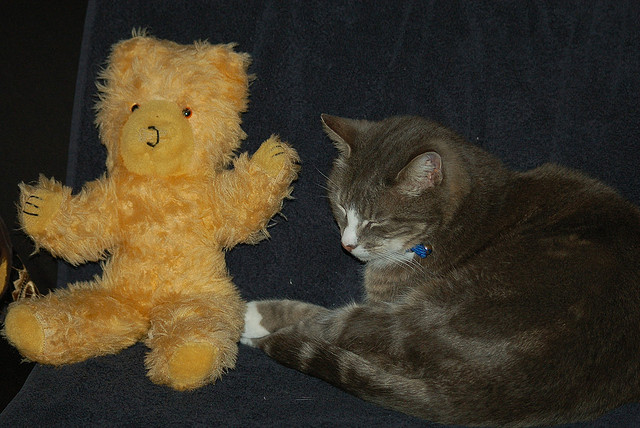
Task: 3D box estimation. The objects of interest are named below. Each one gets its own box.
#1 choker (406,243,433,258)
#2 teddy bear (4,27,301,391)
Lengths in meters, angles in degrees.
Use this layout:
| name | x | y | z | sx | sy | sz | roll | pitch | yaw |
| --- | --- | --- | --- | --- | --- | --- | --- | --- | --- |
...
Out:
| name | x | y | z | sx | sy | sz | roll | pitch | yaw |
| --- | --- | --- | --- | --- | --- | --- | --- | --- | --- |
| choker | 0.309 | 0.108 | 2.576 | 0.069 | 0.050 | 0.025 | 30 | 33 | 19 |
| teddy bear | -0.470 | -0.013 | 2.367 | 0.720 | 0.818 | 0.661 | 17 | 31 | -3 |
